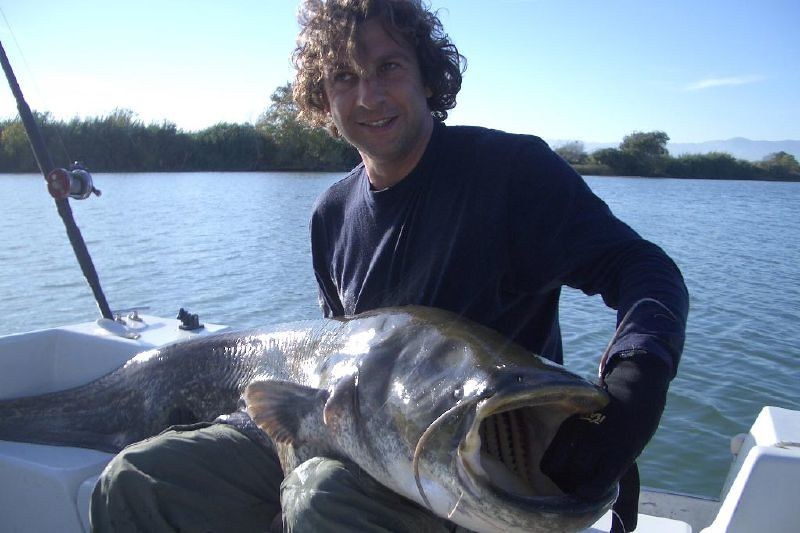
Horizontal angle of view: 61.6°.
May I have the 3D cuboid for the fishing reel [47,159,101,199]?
[{"bbox_3d":[-2.477,-0.634,4.985,0.230,0.267,0.447,4,4,-7],"label":"fishing reel"}]
